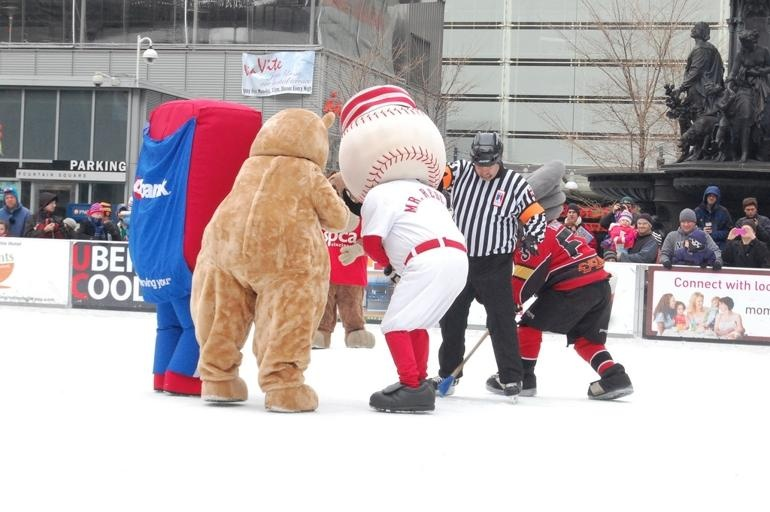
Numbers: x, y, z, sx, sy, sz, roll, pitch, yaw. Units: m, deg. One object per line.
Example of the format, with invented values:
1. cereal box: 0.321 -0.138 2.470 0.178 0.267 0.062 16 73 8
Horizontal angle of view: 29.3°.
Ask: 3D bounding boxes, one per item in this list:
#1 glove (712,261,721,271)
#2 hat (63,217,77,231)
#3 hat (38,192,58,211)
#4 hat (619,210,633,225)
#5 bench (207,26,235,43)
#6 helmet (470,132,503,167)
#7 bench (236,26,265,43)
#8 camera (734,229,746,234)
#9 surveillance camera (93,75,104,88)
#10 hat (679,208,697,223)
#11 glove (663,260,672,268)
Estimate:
1. glove: 5.688 0.159 25.228 0.144 0.158 0.057 3 6 7
2. hat: -6.019 -0.601 27.814 0.212 0.184 0.259 21 12 2
3. hat: -6.310 -1.018 27.453 0.299 0.331 0.533 1 5 -14
4. hat: 4.317 -0.695 26.462 0.213 0.214 0.280 14 -17 11
5. bench: -4.521 -6.085 40.447 0.739 0.454 0.137 5 6 25
6. helmet: 1.524 -1.573 21.424 0.439 0.485 0.526 0 29 5
7. bench: -3.750 -6.056 40.240 0.572 0.485 0.137 3 10 5
8. camera: 6.218 -0.436 25.759 0.106 0.121 0.112 -1 6 -30
9. surveillance camera: -7.007 -4.302 35.962 0.247 0.250 0.275 -2 4 -9
10. hat: 5.251 -0.710 25.548 0.244 0.219 0.307 1 -5 11
11. glove: 4.896 0.144 25.476 0.177 0.131 0.093 0 6 -19
